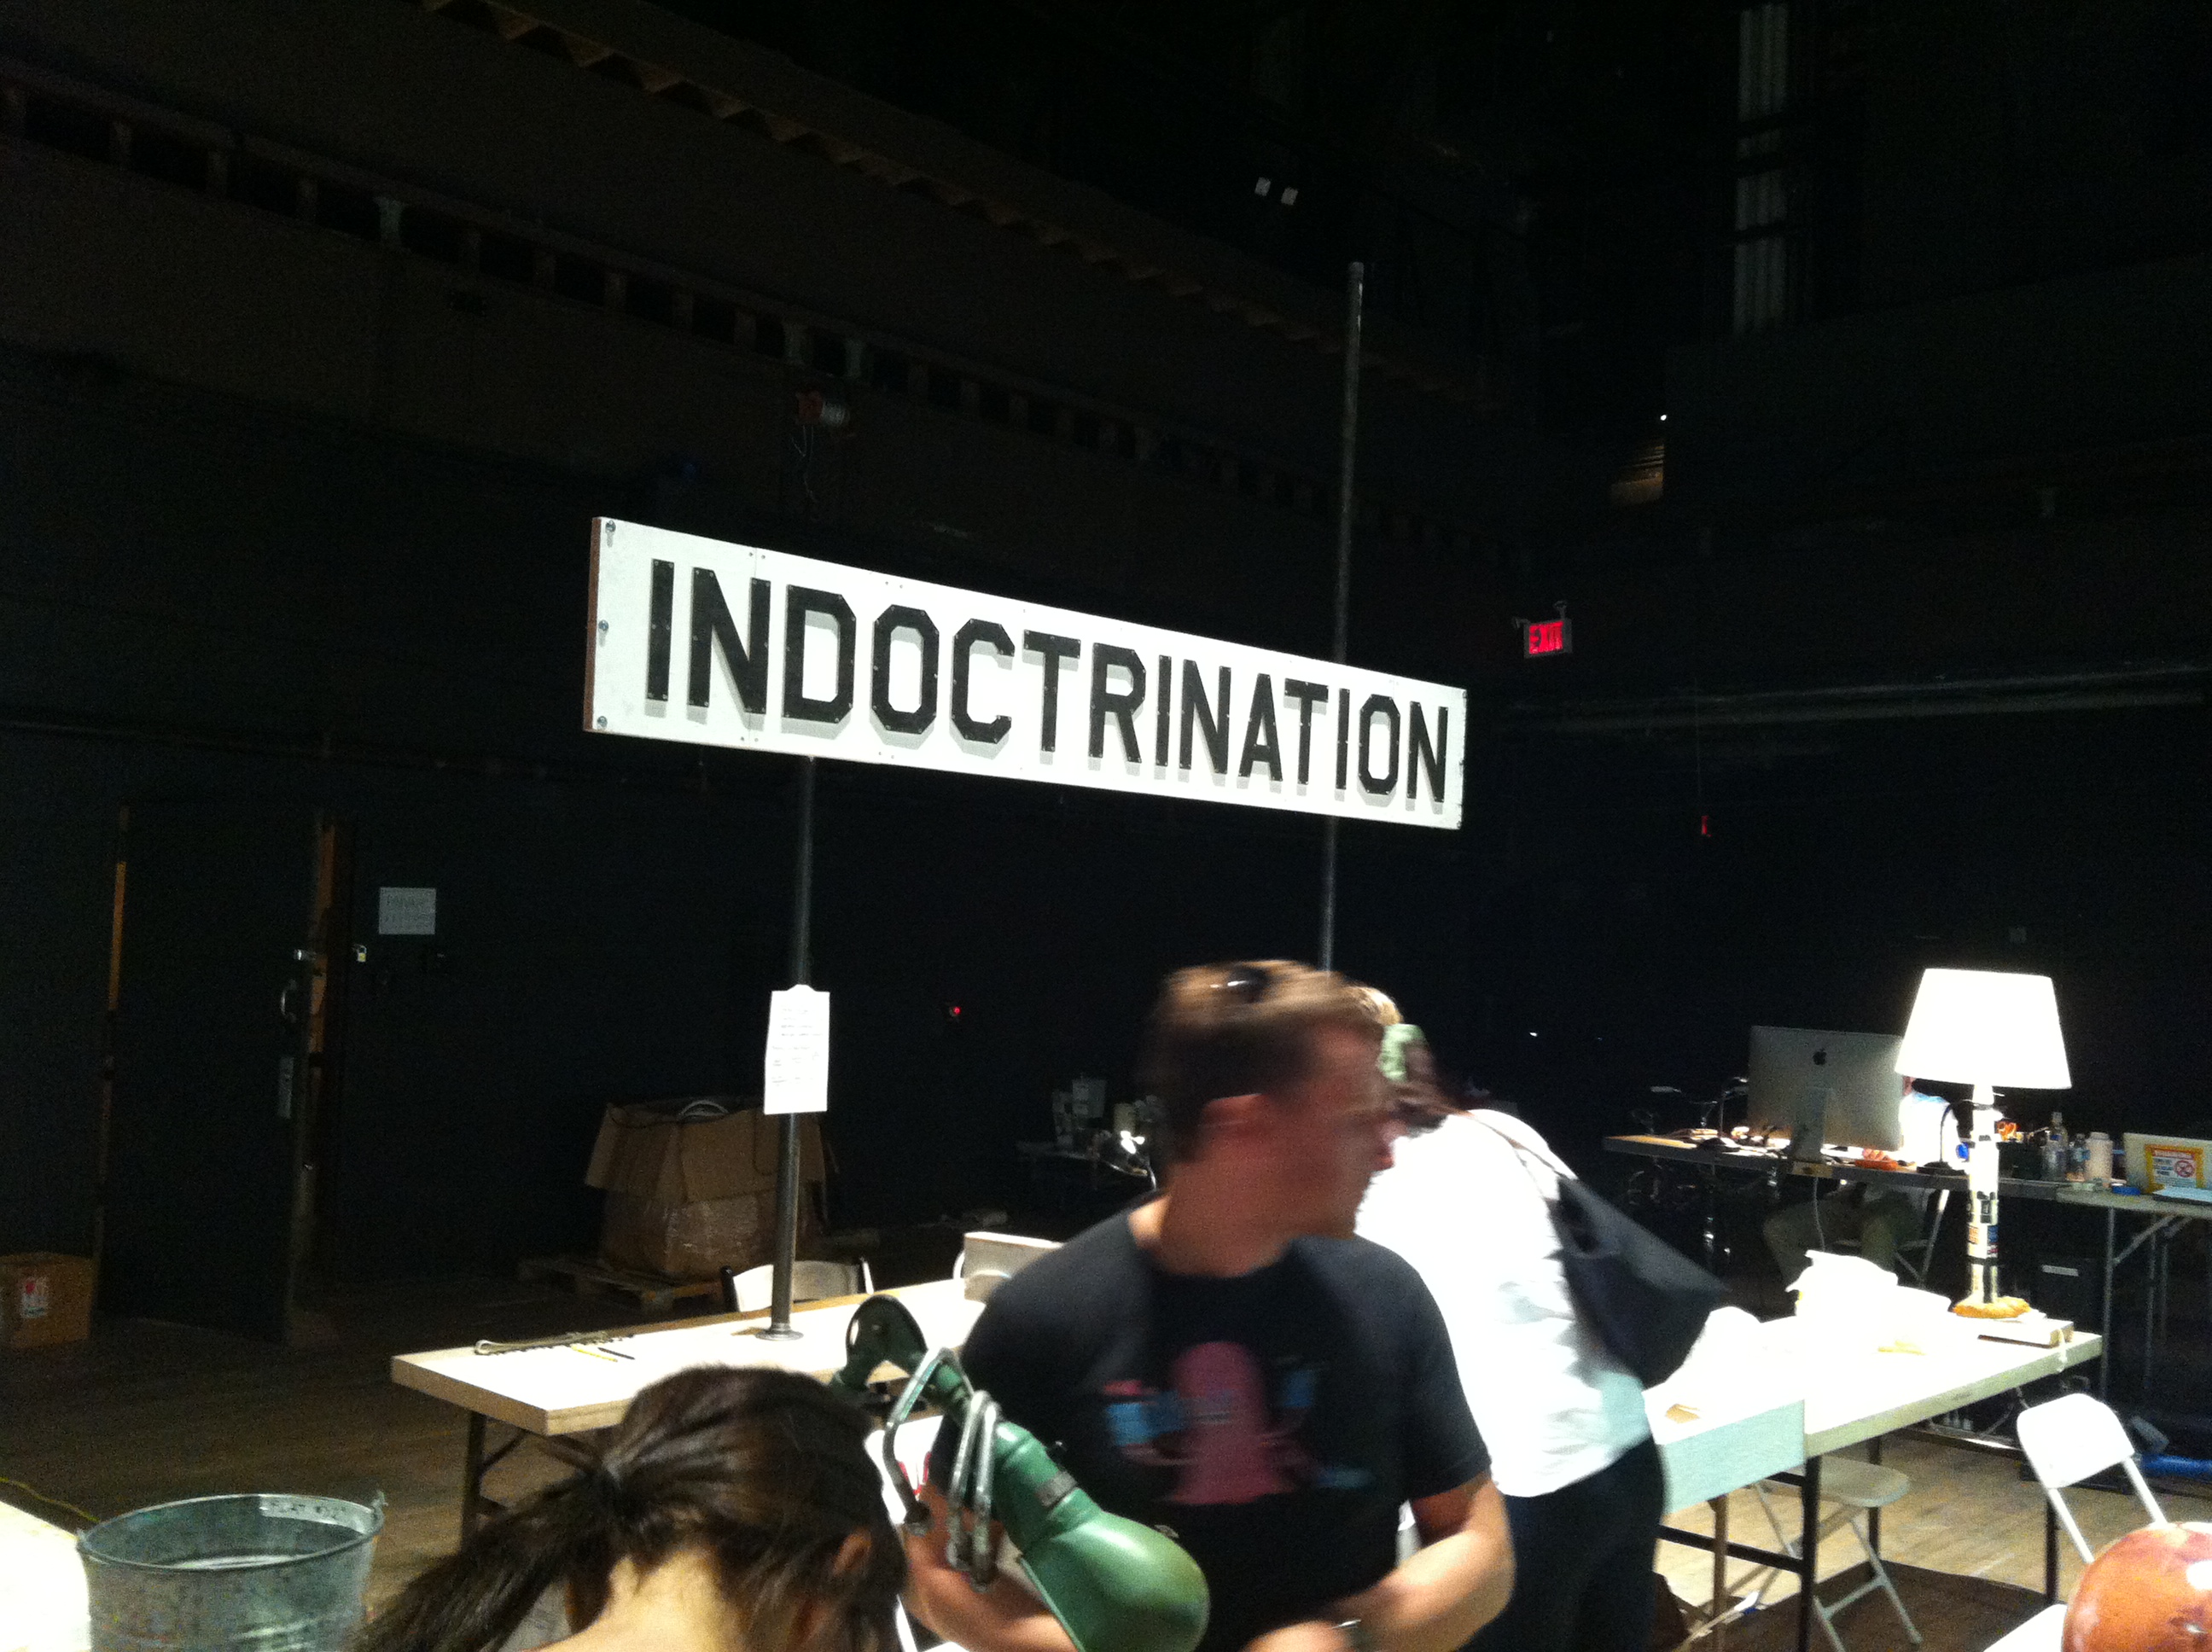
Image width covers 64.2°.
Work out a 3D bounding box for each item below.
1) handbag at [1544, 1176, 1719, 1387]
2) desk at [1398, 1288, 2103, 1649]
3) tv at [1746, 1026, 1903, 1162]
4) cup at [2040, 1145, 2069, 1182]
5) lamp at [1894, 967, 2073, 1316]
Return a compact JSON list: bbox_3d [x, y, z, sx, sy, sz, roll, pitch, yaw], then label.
[{"bbox_3d":[0.906,0.793,3.111,0.318,0.321,0.125,-41,3,-15],"label":"handbag"},{"bbox_3d":[1.539,1.498,4.072,0.889,0.824,1.677,-3,-5,43],"label":"desk"},{"bbox_3d":[3.373,1.215,8.265,0.766,0.592,0.243,2,-5,42],"label":"tv"},{"bbox_3d":[4.092,1.445,7.556,0.106,0.183,0.114,1,-2,0],"label":"cup"},{"bbox_3d":[2.632,0.924,5.265,0.431,0.992,0.420,7,-7,-31],"label":"lamp"}]
